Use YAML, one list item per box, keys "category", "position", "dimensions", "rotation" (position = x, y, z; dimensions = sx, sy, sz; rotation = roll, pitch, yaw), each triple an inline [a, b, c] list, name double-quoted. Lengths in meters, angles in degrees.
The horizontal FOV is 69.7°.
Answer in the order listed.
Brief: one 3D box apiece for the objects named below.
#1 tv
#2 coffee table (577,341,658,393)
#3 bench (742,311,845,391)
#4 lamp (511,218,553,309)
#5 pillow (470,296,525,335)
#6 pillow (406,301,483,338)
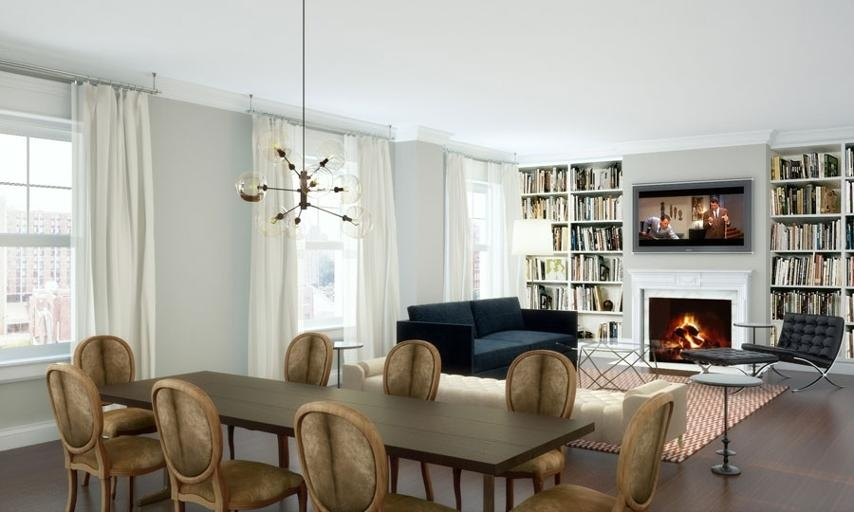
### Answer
- category: "tv"
  position: [4.168, -0.624, 9.476]
  dimensions: [1.234, 0.788, 0.048]
  rotation: [-1, 3, 26]
- category: "coffee table"
  position: [2.839, 1.546, 9.395]
  dimensions: [1.180, 0.448, 1.172]
  rotation: [0, -7, 19]
- category: "bench"
  position: [5.067, 1.206, 8.537]
  dimensions: [1.115, 1.081, 1.197]
  rotation: [1, -3, -23]
- category: "lamp"
  position: [1.743, 0.148, 9.416]
  dimensions: [0.734, 1.626, 0.675]
  rotation: [-6, 10, 0]
- category: "pillow"
  position: [1.027, 0.877, 9.010]
  dimensions: [0.737, 0.507, 0.172]
  rotation: [-4, -12, -45]
- category: "pillow"
  position: [0.197, 0.925, 8.438]
  dimensions: [0.877, 0.315, 1.441]
  rotation: [5, 4, 8]
